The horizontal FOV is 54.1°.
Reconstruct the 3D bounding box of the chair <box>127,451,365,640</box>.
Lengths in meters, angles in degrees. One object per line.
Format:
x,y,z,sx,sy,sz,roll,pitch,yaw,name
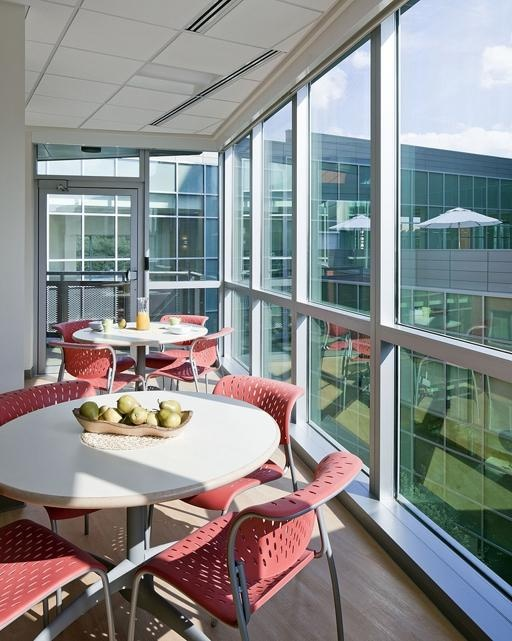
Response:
-0.002,0.559,1.253,0.440,0.435,0.450,6,7,35,chair

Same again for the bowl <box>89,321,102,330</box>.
-1.161,0.033,3.628,0.076,0.033,0.075,0,5,0,bowl

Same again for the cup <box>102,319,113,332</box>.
-1.044,0.029,3.576,0.095,0.105,0.094,1,3,0,cup

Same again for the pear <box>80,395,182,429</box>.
-0.351,0.266,1.457,0.213,0.061,0.121,8,-2,0,pear

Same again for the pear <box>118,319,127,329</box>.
-1.013,0.024,3.784,0.044,0.052,0.044,-25,32,-33,pear

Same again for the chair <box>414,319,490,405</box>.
0.729,0.147,1.843,0.225,0.297,0.311,-5,13,-27,chair

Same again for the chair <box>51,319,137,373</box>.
-1.238,0.125,4.109,0.566,0.680,0.483,0,5,7,chair

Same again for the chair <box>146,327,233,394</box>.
-0.519,0.365,3.785,0.533,0.641,0.480,6,16,4,chair

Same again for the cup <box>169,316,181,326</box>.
-0.595,-0.001,3.690,0.069,0.050,0.070,-1,9,0,cup

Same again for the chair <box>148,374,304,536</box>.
-0.092,0.572,2.036,0.427,0.602,0.504,6,11,43,chair
